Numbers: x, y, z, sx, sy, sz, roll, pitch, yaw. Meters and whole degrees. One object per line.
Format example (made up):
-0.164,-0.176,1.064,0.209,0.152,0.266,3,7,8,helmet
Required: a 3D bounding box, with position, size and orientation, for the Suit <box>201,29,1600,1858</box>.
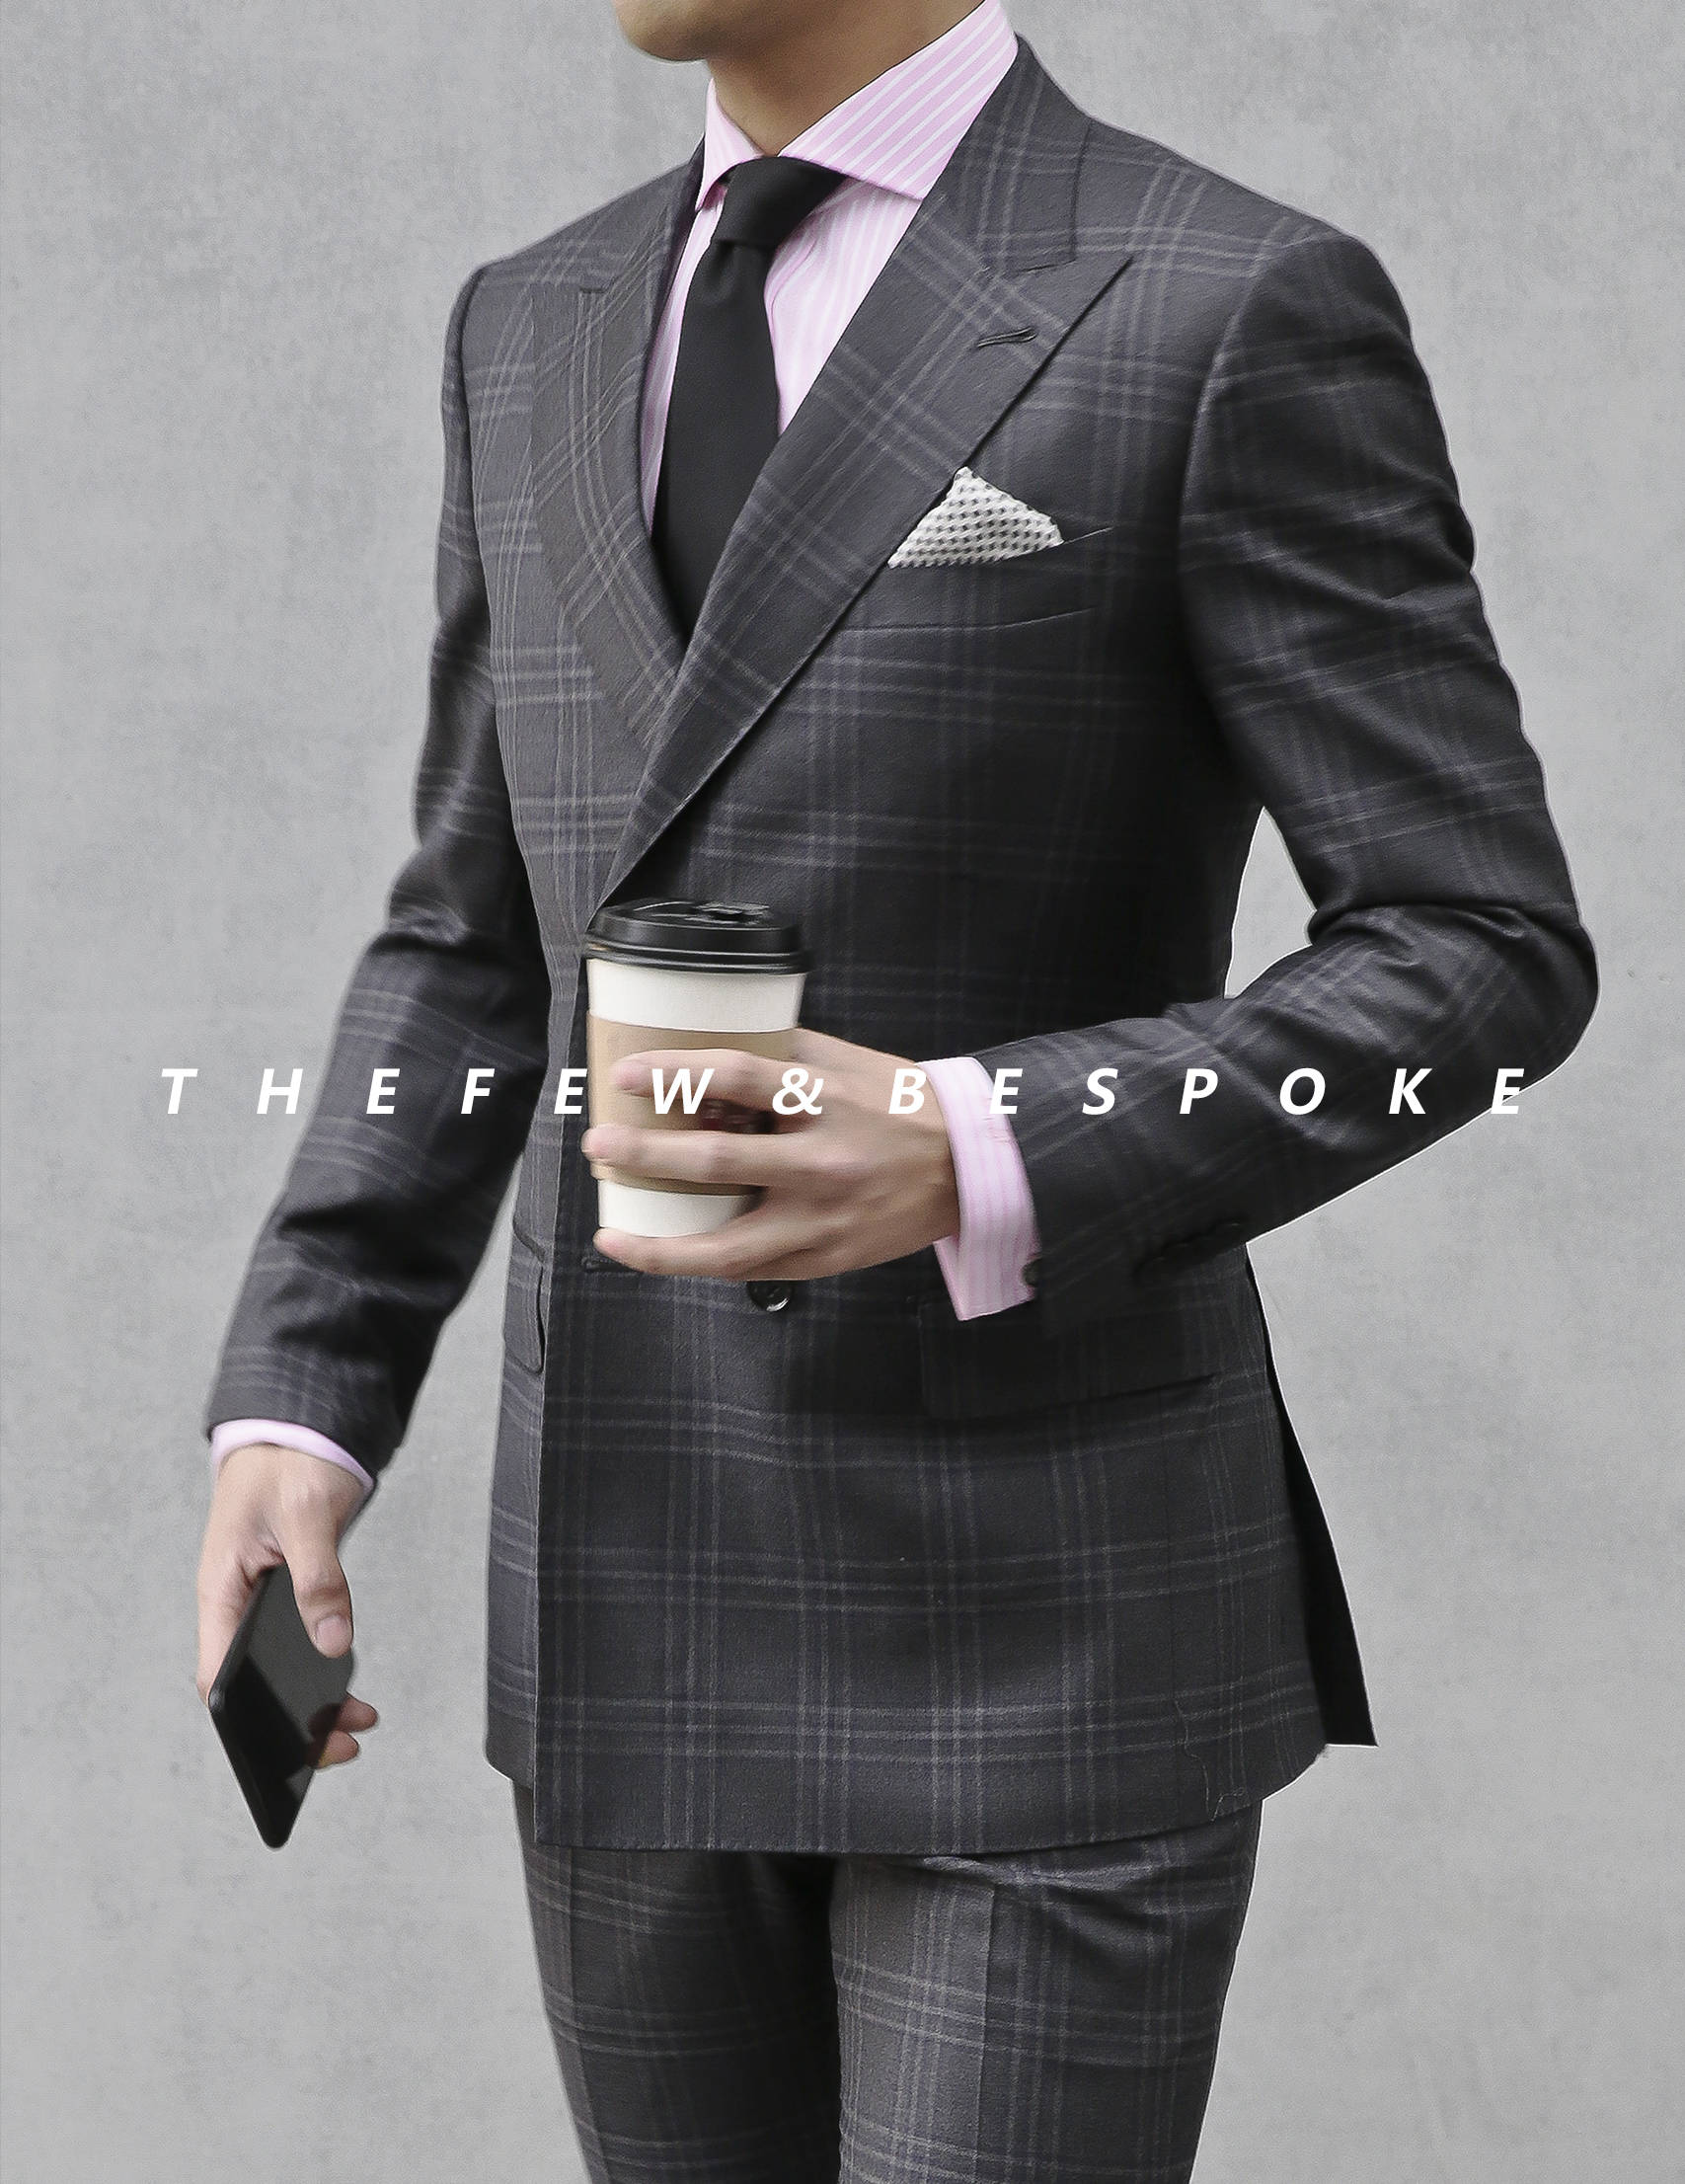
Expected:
0.040,-0.091,1.522,0.559,1.040,0.760,14,-30,-25,Suit
